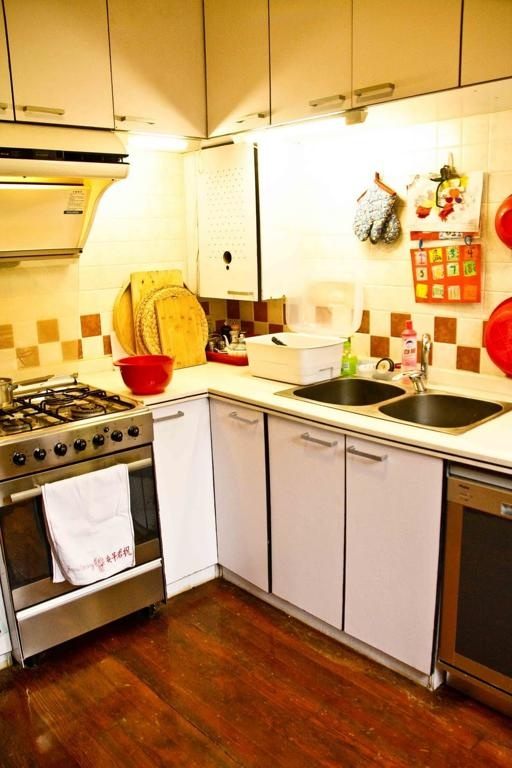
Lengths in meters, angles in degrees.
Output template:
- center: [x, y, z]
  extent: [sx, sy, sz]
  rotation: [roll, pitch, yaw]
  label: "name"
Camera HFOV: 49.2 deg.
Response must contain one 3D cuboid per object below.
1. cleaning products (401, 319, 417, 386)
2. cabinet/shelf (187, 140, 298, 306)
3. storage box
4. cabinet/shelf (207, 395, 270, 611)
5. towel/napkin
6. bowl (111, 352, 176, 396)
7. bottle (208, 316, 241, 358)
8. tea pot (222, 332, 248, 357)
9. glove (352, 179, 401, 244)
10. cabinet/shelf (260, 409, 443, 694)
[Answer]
- center: [0.562, -0.122, 2.052]
  extent: [0.057, 0.218, 0.115]
  rotation: [-1, 7, 17]
  label: "cleaning products"
- center: [-0.044, -0.695, 2.356]
  extent: [0.371, 0.750, 0.502]
  rotation: [-16, 20, -40]
  label: "cabinet/shelf"
- center: [0.141, -0.087, 2.193]
  extent: [0.215, 0.137, 0.307]
  rotation: [-9, 15, -39]
  label: "storage box"
- center: [-0.067, 0.473, 2.241]
  extent: [0.199, 0.451, 0.199]
  rotation: [-13, 26, -34]
  label: "cabinet/shelf"
- center: [-0.531, 0.430, 1.729]
  extent: [0.082, 0.428, 0.341]
  rotation: [6, 15, 41]
  label: "towel/napkin"
- center: [-0.414, -0.033, 2.101]
  extent: [0.183, 0.115, 0.177]
  rotation: [-1, 15, 0]
  label: "bowl"
- center: [-0.152, -0.232, 2.750]
  extent: [0.130, 0.234, 0.231]
  rotation: [5, 19, 11]
  label: "bottle"
- center: [-0.100, -0.179, 2.645]
  extent: [0.126, 0.130, 0.084]
  rotation: [1, 8, -15]
  label: "tea pot"
- center: [0.448, -0.630, 2.060]
  extent: [0.050, 0.203, 0.165]
  rotation: [-6, 27, -35]
  label: "glove"
- center: [0.303, 0.508, 1.695]
  extent: [0.371, 0.756, 0.610]
  rotation: [-14, 20, -43]
  label: "cabinet/shelf"
